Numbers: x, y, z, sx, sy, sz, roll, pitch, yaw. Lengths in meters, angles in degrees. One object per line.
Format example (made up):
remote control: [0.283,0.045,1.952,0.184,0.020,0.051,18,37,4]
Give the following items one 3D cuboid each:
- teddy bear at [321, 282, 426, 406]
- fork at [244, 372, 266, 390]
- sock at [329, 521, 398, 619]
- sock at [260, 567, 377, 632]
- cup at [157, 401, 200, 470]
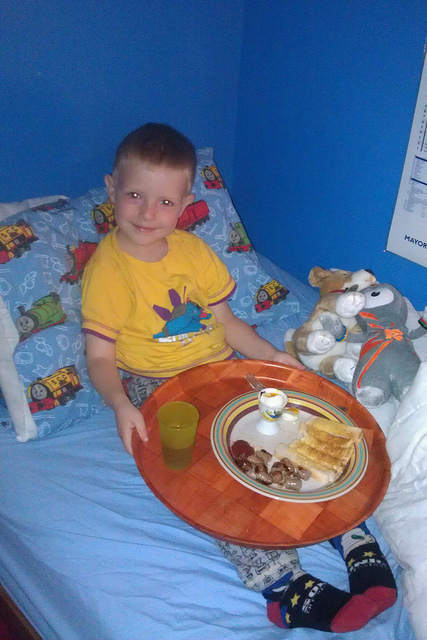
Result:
teddy bear: [0.434,0.076,1.428,0.259,0.153,0.357,-13,35,22]
fork: [0.092,0.139,1.206,0.011,0.012,0.081,-32,34,-22]
sock: [0.298,0.489,1.075,0.082,0.110,0.263,-28,-5,3]
sock: [0.188,0.518,0.948,0.169,0.076,0.136,10,22,28]
cup: [-0.065,0.209,0.950,0.073,0.107,0.103,-2,28,-7]
